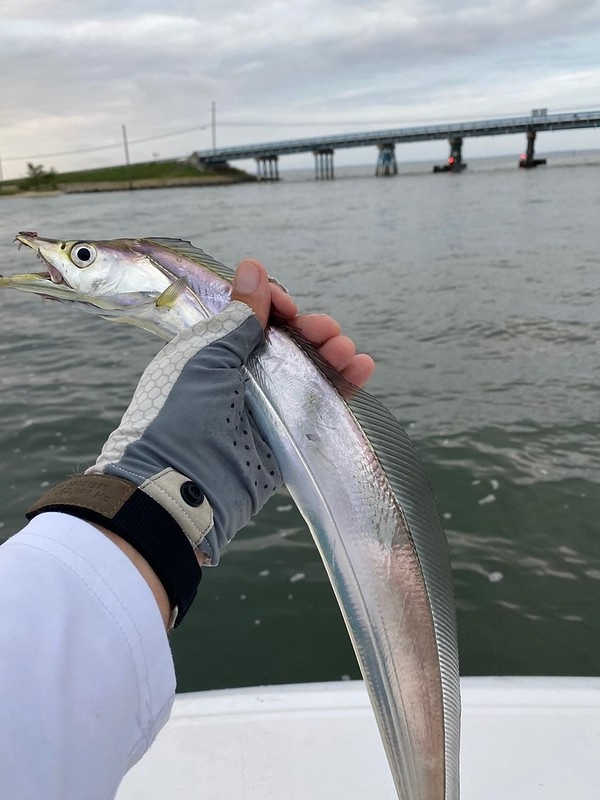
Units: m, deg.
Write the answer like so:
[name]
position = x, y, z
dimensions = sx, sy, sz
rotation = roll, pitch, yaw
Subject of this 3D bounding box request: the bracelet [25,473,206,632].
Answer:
[bracelet]
position = -0.338, 0.305, 1.355
dimensions = 0.130, 0.332, 0.276
rotation = -41, 56, 4
